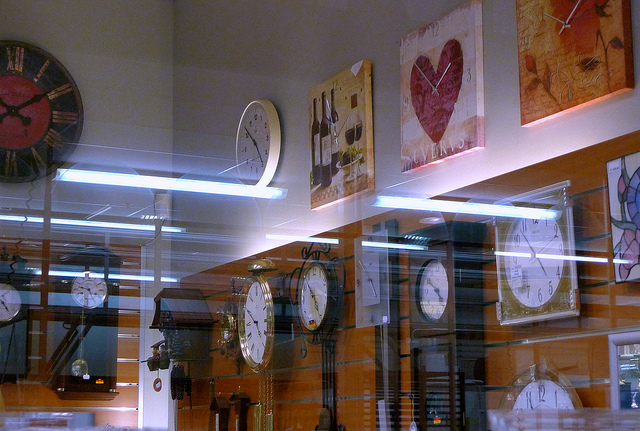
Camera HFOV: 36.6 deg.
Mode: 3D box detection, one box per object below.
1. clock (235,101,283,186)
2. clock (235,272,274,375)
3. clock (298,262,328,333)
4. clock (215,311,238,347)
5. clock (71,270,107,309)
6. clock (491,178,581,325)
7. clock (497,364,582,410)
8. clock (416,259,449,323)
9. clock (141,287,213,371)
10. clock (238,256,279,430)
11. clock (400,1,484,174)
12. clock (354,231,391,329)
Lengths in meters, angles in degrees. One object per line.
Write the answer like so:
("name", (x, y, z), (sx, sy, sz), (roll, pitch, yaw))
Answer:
("clock", (-0.216, -0.290, 4.076), (0.056, 0.415, 0.339), (3, -3, -31))
("clock", (-0.227, 0.450, 3.955), (0.110, 0.378, 0.253), (6, -21, -21))
("clock", (0.001, 0.316, 3.763), (0.039, 0.308, 0.260), (0, -1, -28))
("clock", (-0.352, 0.482, 4.113), (0.030, 0.142, 0.104), (4, -12, -37))
("clock", (-0.923, 0.313, 4.111), (0.027, 0.178, 0.152), (-4, -7, 42))
("clock", (0.687, 0.119, 3.074), (0.036, 0.507, 0.364), (8, -15, -33))
("clock", (0.667, 0.549, 3.057), (0.069, 0.146, 0.282), (13, -25, -36))
("clock", (0.394, 0.264, 3.332), (0.029, 0.236, 0.186), (4, -9, -34))
("clock", (-0.597, 0.513, 4.352), (0.229, 0.354, 0.357), (0, -8, -30))
("clock", (-0.216, 0.516, 3.905), (0.148, 0.644, 0.295), (1, -19, -6))
("clock", (0.441, -0.432, 3.397), (0.055, 0.696, 0.483), (9, -16, -32))
("clock", (0.210, 0.230, 3.569), (0.042, 0.407, 0.286), (6, -12, -27))
